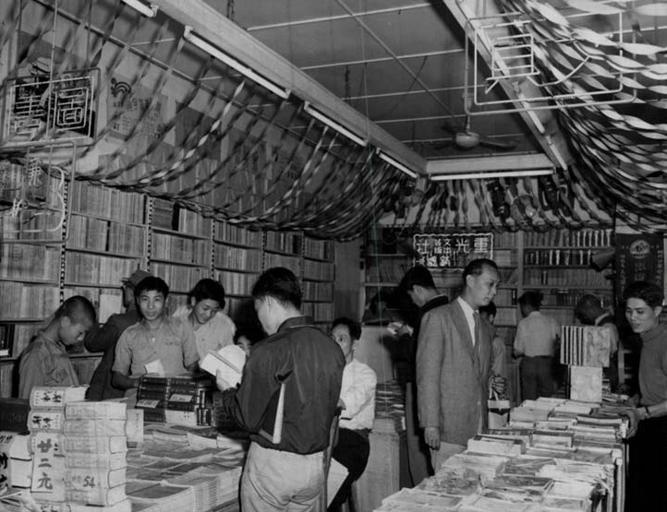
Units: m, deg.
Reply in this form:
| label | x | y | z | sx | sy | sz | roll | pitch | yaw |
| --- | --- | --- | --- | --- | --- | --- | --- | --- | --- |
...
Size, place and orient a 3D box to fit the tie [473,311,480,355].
| label | x | y | z | sx | sy | sz | roll | pitch | yaw |
| --- | --- | --- | --- | --- | --- | --- | --- | --- | --- |
| tie | 0.991 | 0.523 | 4.636 | 0.034 | 0.272 | 0.080 | -2 | -6 | 15 |

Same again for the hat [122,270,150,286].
| label | x | y | z | sx | sy | sz | roll | pitch | yaw |
| --- | --- | --- | --- | --- | --- | --- | --- | --- | --- |
| hat | -1.740 | 0.197 | 5.920 | 0.197 | 0.186 | 0.448 | 2 | -7 | -16 |

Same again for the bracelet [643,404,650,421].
| label | x | y | z | sx | sy | sz | roll | pitch | yaw |
| --- | --- | --- | --- | --- | --- | --- | --- | --- | --- |
| bracelet | 2.269 | 1.132 | 4.835 | 0.042 | 0.097 | 0.100 | -3 | -7 | 24 |
